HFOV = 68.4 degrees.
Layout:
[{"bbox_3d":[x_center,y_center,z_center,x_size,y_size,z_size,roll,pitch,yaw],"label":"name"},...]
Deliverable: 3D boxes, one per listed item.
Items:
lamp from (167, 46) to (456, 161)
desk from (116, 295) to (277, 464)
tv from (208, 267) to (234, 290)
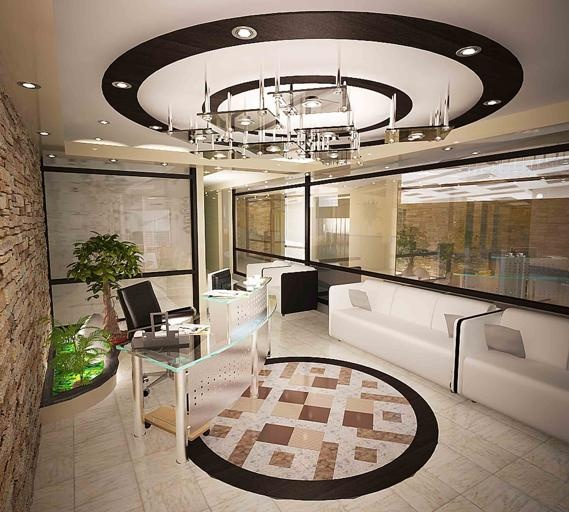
[{"bbox_3d":[0.001,-1.060,3.515,1.476,0.488,1.423,0,-2,-7],"label":"lamp"},{"bbox_3d":[-0.596,1.023,3.736,1.330,0.632,0.633,9,-33,-43],"label":"desk"},{"bbox_3d":[-0.958,0.343,6.314,0.164,0.447,0.504,6,9,36],"label":"tv"}]
